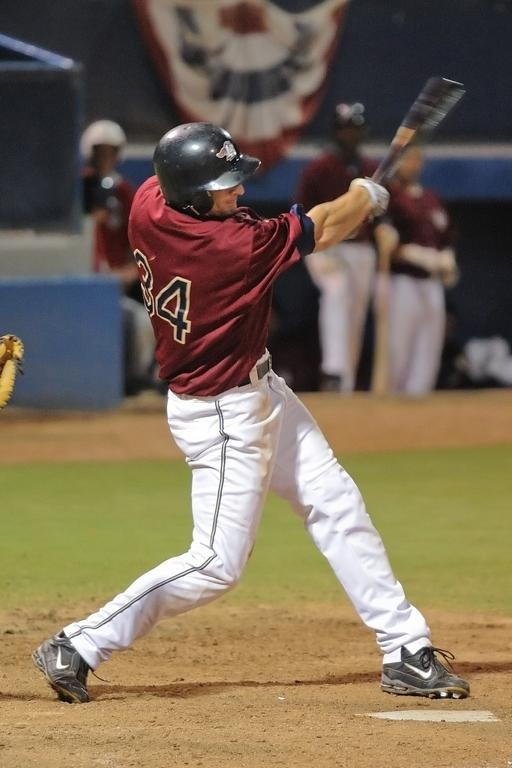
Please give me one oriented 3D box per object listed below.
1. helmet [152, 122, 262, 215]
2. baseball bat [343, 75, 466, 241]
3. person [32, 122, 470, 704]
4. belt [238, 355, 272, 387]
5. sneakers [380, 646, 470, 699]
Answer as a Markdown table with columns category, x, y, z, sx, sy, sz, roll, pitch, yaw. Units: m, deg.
| category | x | y | z | sx | sy | sz | roll | pitch | yaw |
| --- | --- | --- | --- | --- | --- | --- | --- | --- | --- |
| helmet | -0.105 | -0.505 | 2.170 | 0.261 | 0.169 | 0.185 | -9 | 41 | 1 |
| baseball bat | 0.431 | -0.702 | 2.776 | 0.196 | 0.678 | 0.038 | 38 | -13 | 0 |
| person | 0.062 | 0.170 | 2.231 | 0.935 | 1.434 | 0.804 | 10 | 27 | 9 |
| belt | 0.006 | -0.027 | 2.181 | 0.086 | 0.021 | 0.060 | -30 | 8 | 12 |
| sneakers | 0.405 | 0.679 | 2.248 | 0.099 | 0.108 | 0.259 | 7 | -12 | -35 |
